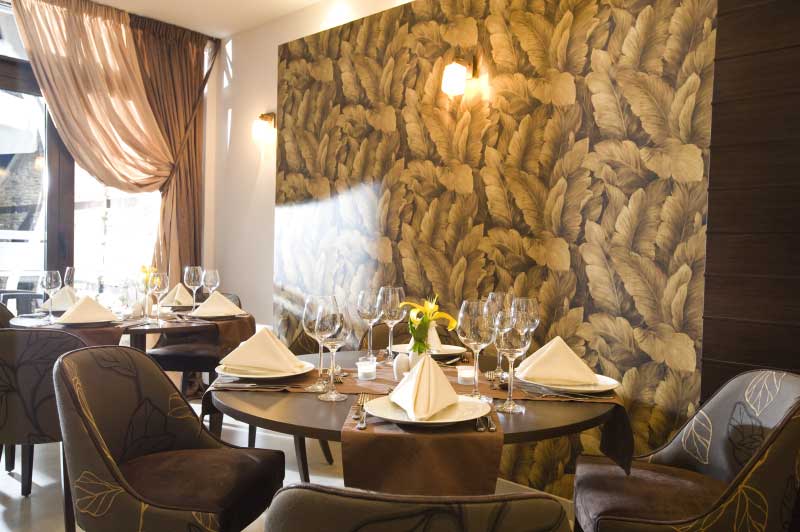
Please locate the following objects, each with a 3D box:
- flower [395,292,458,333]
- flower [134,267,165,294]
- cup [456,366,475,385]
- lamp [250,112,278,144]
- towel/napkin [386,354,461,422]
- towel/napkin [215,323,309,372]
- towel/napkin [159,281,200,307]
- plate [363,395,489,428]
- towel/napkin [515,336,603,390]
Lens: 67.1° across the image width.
[{"bbox_3d":[0.096,0.196,3.012,0.221,0.093,0.223,12,3,41],"label":"flower"},{"bbox_3d":[-1.667,0.093,4.027,0.234,0.254,0.212,0,3,-24],"label":"flower"},{"bbox_3d":[0.301,0.508,2.780,0.057,0.056,0.075,-2,-6,-3],"label":"cup"},{"bbox_3d":[-1.275,-1.285,5.641,0.275,0.279,0.069,14,15,40],"label":"lamp"},{"bbox_3d":[0.072,0.483,2.341,0.209,0.221,0.306,4,-7,7],"label":"towel/napkin"},{"bbox_3d":[-0.623,0.374,2.760,0.336,0.166,0.211,-2,-8,5],"label":"towel/napkin"},{"bbox_3d":[-1.694,0.235,4.579,0.222,0.141,0.221,2,-5,-12],"label":"towel/napkin"},{"bbox_3d":[0.102,0.566,2.364,0.493,0.080,0.213,-3,4,-5],"label":"plate"},{"bbox_3d":[0.759,0.463,2.857,0.277,0.140,0.299,-1,-8,24],"label":"towel/napkin"}]
